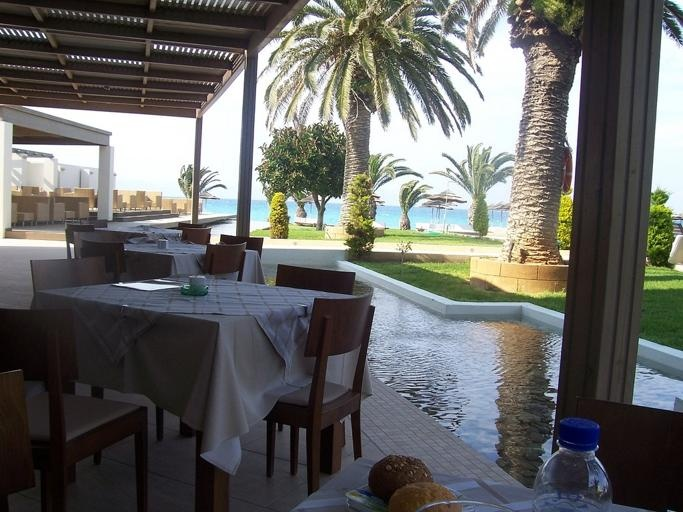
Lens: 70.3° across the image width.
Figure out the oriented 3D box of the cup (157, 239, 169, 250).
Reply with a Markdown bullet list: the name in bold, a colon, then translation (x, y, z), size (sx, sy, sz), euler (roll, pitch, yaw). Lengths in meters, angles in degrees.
- **cup**: translation (-1.800, -0.118, 4.932), size (0.099, 0.102, 0.097), euler (0, 4, 0)

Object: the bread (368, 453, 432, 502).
- **bread**: translation (0.120, 0.469, 1.025), size (0.136, 0.093, 0.155), euler (3, -14, 4)

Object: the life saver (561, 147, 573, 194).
- **life saver**: translation (5.076, -1.993, 10.852), size (0.215, 0.946, 1.697), euler (8, 7, 26)
